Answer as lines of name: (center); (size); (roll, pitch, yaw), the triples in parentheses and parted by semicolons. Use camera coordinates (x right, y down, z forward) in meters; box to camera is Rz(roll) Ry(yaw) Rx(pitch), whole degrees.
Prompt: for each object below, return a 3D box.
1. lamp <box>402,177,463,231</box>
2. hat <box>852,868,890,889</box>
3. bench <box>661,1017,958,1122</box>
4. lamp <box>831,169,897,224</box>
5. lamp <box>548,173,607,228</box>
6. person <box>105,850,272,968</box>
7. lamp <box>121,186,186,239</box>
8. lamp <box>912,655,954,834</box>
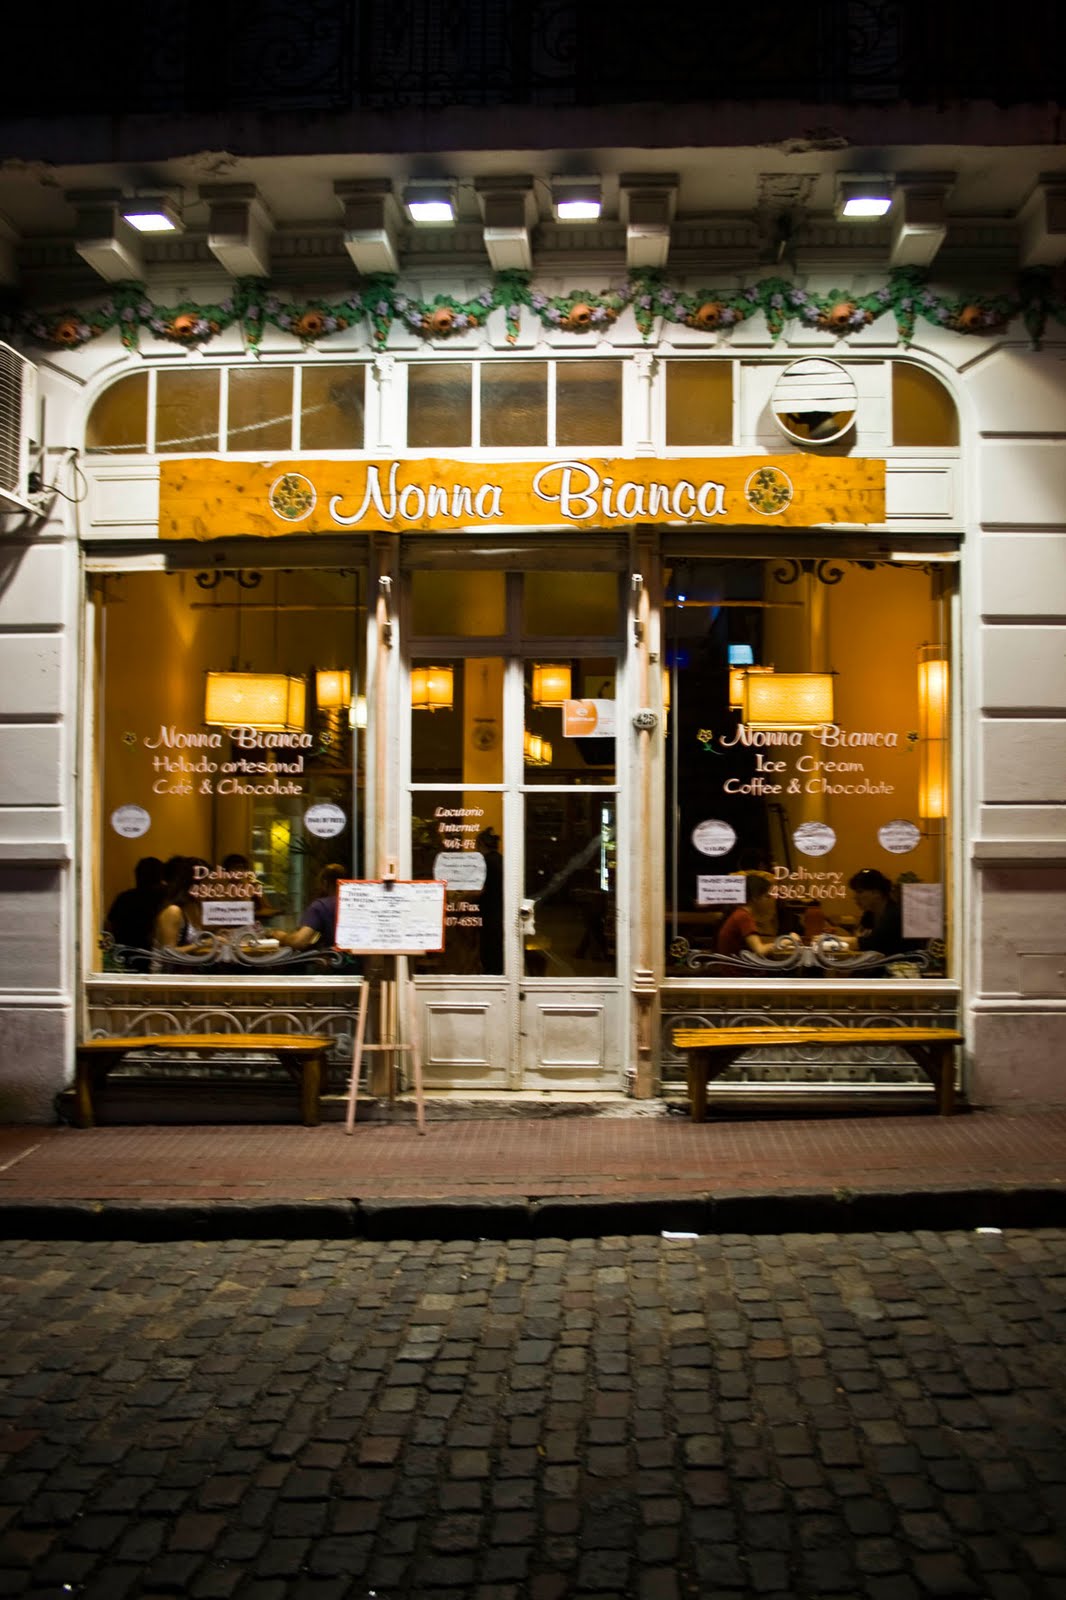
lamp: (-0.587, -3.456, 8.306); (0.300, 0.134, 0.393); (-1, 2, -1)
hat: (2.030, 0.480, 8.673); (0.183, 0.140, 0.131); (-3, 8, -31)
bench: (1.646, 1.556, 8.284); (1.674, 0.490, 0.650); (-1, 2, -1)
lamp: (1.892, -3.424, 8.188); (0.336, 0.169, 0.455); (0, 2, 12)
lamp: (0.253, -3.426, 8.176); (0.245, 0.125, 0.223); (-2, 7, -11)
person: (-2.140, 0.659, 9.140); (1.000, 0.811, 0.557); (-3, 1, -10)
lamp: (-2.176, -3.397, 8.265); (0.273, 0.088, 0.365); (-1, 1, -2)
lamp: (2.399, -0.376, 8.646); (0.172, 0.987, 0.041); (0, 1, 15)
